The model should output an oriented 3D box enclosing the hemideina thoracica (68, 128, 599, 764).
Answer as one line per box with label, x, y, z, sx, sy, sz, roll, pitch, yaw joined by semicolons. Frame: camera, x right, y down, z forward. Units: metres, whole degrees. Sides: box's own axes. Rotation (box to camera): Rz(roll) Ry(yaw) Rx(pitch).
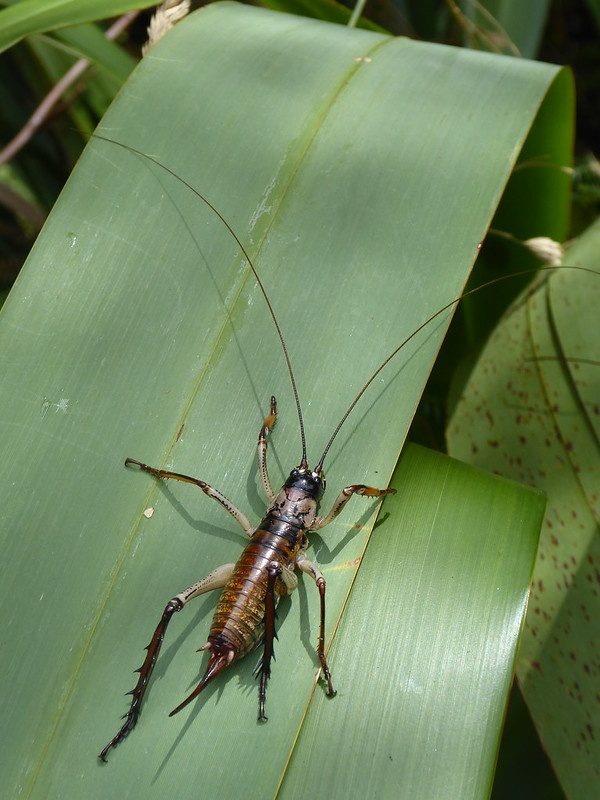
hemideina thoracica;-0.148;0.204;1.995;0.873;0.408;1.487;14;71;8
